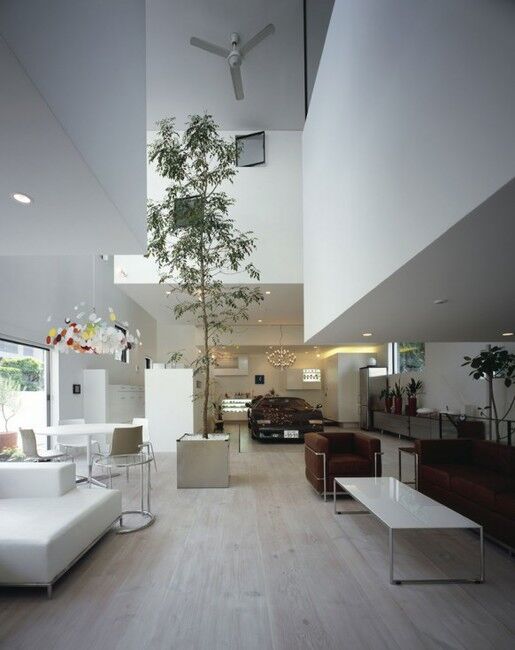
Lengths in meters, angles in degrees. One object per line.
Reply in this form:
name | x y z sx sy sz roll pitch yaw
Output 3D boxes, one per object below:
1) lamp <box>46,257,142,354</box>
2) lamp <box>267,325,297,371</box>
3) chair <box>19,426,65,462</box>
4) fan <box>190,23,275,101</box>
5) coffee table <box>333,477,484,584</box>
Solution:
lamp | -2.082 -0.230 6.226 0.957 1.256 1.051 -4 -13 7
lamp | 0.689 0.630 14.542 0.735 1.400 0.769 -10 -22 22
chair | -2.379 1.312 5.314 0.242 0.386 0.632 0 -6 2
fan | -0.211 -3.230 5.603 0.846 0.457 0.845 -9 -19 31
coffee table | 1.076 1.474 3.588 0.684 0.371 1.591 0 -7 -4
